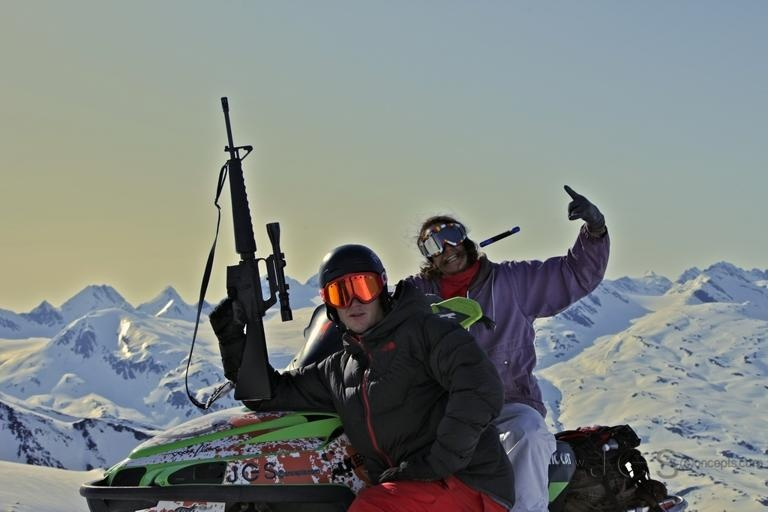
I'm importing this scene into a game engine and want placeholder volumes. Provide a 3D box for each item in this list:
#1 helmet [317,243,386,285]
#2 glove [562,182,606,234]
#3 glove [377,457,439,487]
[{"bbox_3d":[-0.382,0.086,10.068,0.605,0.454,0.619,-8,-2,8],"label":"helmet"},{"bbox_3d":[2.374,-0.560,10.934,0.338,0.565,0.708,-19,-30,19],"label":"glove"},{"bbox_3d":[0.293,2.287,9.795,0.497,0.259,0.151,-2,16,-3],"label":"glove"}]
